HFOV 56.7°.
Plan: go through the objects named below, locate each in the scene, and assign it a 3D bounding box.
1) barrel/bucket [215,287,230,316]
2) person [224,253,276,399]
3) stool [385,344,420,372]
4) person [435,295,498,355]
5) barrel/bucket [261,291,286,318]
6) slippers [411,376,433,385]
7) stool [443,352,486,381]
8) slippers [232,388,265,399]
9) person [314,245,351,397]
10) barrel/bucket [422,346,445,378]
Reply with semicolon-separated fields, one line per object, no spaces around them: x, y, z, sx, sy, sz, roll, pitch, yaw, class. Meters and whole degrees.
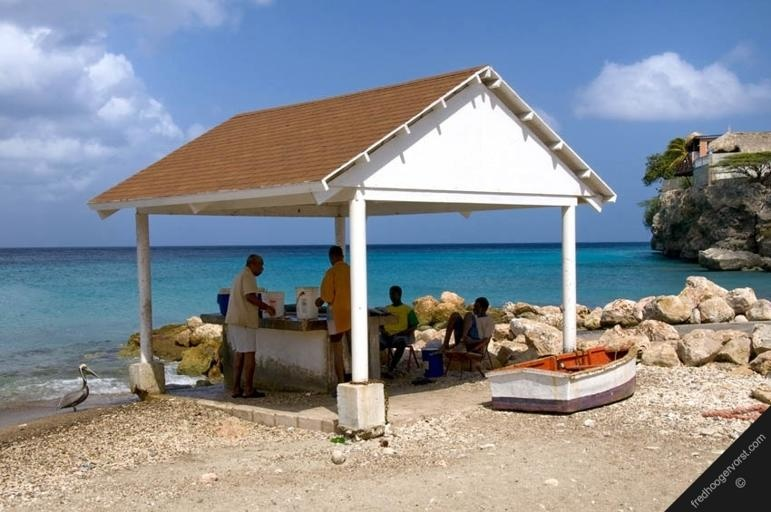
-3.331;0.949;14.659;0.516;0.596;0.521;0;-6;0;barrel/bucket
-2.654;1.343;13.687;0.819;1.971;1.194;-6;3;-19;person
0.430;2.359;16.475;0.591;0.971;0.736;1;-5;-10;stool
1.721;1.634;15.150;1.189;1.596;0.962;12;-21;4;person
-2.220;0.936;13.808;0.460;0.508;0.468;1;2;0;barrel/bucket
0.763;2.549;14.684;0.465;0.071;0.708;-5;3;3;slippers
1.625;2.286;15.257;0.690;0.757;0.706;1;-3;34;stool
-2.622;2.638;13.592;0.438;0.174;0.262;-1;-1;-4;slippers
-0.902;1.205;12.948;0.638;2.748;1.081;-5;3;-5;person
1.028;2.250;15.053;0.451;0.588;0.423;-5;3;0;barrel/bucket
